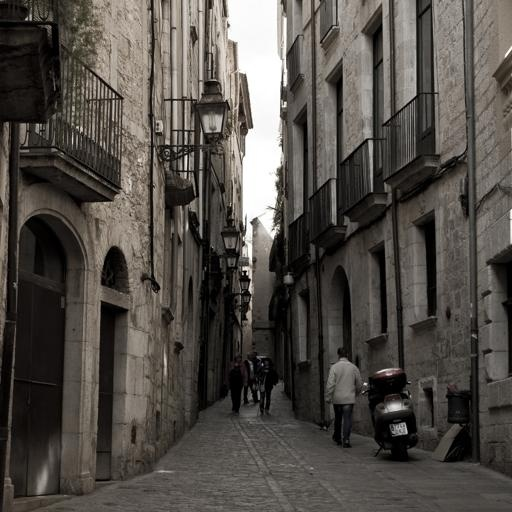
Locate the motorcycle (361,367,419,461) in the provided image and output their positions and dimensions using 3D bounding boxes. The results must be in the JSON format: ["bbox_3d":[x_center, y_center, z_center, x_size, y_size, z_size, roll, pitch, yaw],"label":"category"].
[{"bbox_3d":[2.042,2.322,12.935,0.643,1.431,0.964,-4,-12,7],"label":"motorcycle"}]

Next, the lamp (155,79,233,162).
[{"bbox_3d":[-0.875,-2.008,13.295,0.792,1.686,0.516,8,-32,-8],"label":"lamp"}]

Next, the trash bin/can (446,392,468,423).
[{"bbox_3d":[2.860,2.117,12.368,0.268,0.480,0.353,0,-3,-6],"label":"trash bin/can"}]
